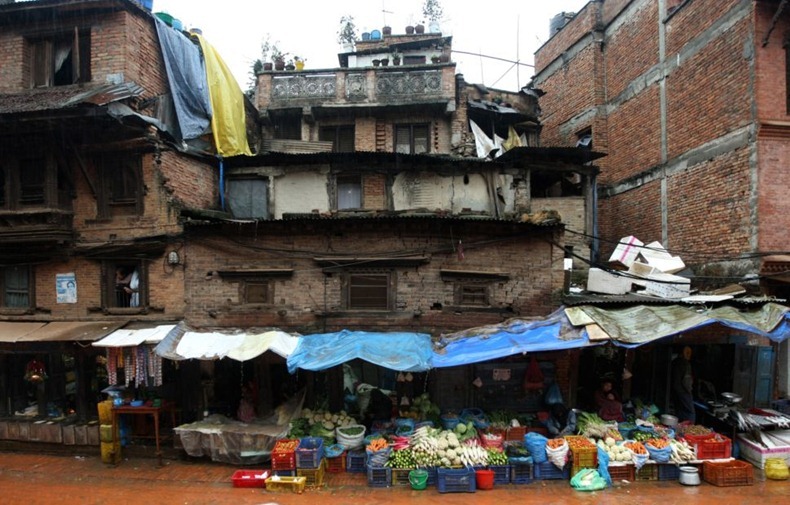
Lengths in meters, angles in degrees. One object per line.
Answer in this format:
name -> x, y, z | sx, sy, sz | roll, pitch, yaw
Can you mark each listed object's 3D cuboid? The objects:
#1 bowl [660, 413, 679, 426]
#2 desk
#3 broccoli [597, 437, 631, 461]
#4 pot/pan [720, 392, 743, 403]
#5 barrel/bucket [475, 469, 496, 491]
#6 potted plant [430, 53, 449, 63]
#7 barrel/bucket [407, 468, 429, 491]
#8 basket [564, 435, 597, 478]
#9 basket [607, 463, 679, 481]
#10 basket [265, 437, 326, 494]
bowl -> 9.657, 5.951, 39.040 | 0.579, 0.398, 0.457 | -1, -8, 12
desk -> -8.868, 6.547, 40.003 | 2.223, 1.953, 2.123 | -3, -11, 2
broccoli -> 7.523, 6.768, 37.946 | 0.935, 0.419, 0.671 | 28, 36, 23
pot/pan -> 11.836, 5.140, 38.977 | 0.614, 0.216, 0.528 | 0, -6, 4
barrel/bucket -> 3.037, 7.701, 37.487 | 0.702, 0.462, 0.691 | -1, -16, 0
potted plant -> 1.883, -8.040, 45.819 | 0.601, 0.290, 0.777 | 0, -3, -1
barrel/bucket -> 0.805, 7.695, 37.490 | 0.705, 0.493, 0.672 | 0, -12, 0
basket -> 6.372, 6.972, 37.822 | 1.033, 1.248, 0.469 | -1, -7, 9
basket -> 8.512, 7.513, 37.780 | 2.231, 0.580, 0.382 | 2, -8, -10
basket -> -3.288, 7.240, 37.724 | 1.856, 1.758, 0.701 | 0, -7, 0
